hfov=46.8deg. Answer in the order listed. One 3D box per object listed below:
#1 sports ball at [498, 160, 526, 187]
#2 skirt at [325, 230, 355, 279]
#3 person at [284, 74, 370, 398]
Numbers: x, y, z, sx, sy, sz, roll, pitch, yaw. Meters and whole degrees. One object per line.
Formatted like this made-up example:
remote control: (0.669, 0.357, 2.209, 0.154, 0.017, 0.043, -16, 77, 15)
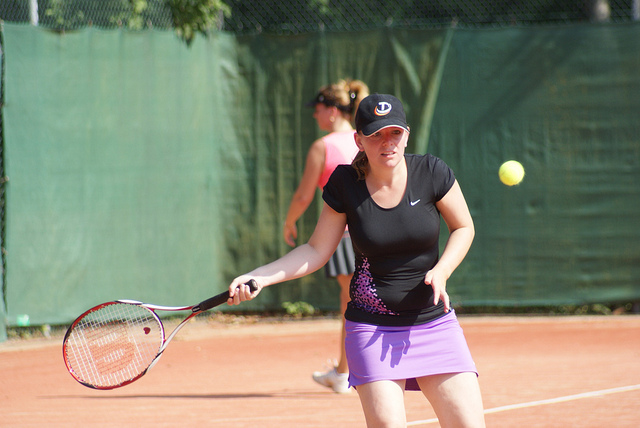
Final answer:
sports ball: (2.049, -0.420, 7.871, 0.235, 0.283, 0.257, -1, -3, 0)
skirt: (0.249, 0.388, 6.721, 0.300, 0.443, 0.264, -5, 17, -39)
person: (-0.035, 0.375, 6.738, 0.933, 3.076, 0.775, -1, 26, -11)
